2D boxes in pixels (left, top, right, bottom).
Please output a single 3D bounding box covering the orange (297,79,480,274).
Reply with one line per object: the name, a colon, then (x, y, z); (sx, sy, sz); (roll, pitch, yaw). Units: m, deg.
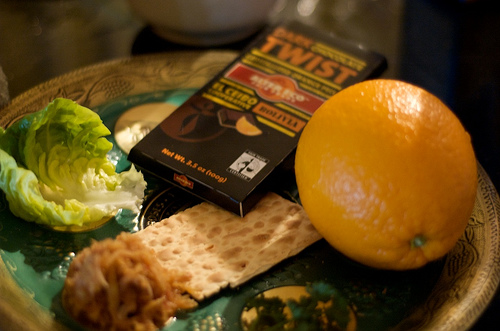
orange: (0.192, 0.026, 0.714); (0.218, 0.255, 0.261); (-23, 69, 21)
